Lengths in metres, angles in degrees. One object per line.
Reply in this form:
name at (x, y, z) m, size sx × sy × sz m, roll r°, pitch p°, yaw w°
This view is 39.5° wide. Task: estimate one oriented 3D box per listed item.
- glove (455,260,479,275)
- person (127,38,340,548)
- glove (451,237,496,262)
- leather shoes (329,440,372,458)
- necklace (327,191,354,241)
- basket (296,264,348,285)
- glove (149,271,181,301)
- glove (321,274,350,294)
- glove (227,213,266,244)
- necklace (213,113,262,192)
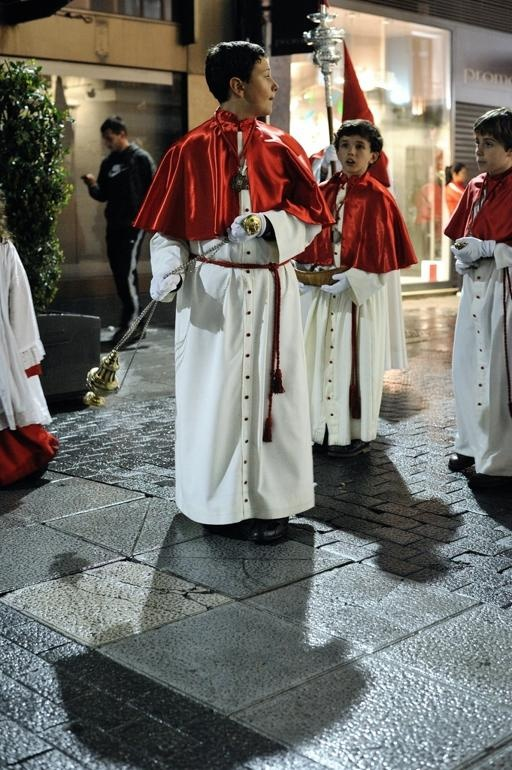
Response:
glove at (1.250, -0.704, 4.317) m, size 0.089 × 0.047 × 0.116 m, roll -3°, pitch -4°, yaw -33°
person at (-0.077, -0.435, 3.235) m, size 0.871 × 2.121 × 0.510 m, roll -1°, pitch 14°, yaw -8°
glove at (1.265, -0.779, 4.139) m, size 0.202 × 0.080 × 0.135 m, roll -3°, pitch 21°, yaw 4°
leather shoes at (0.646, 0.447, 4.967) m, size 0.301 × 0.110 × 0.107 m, roll 1°, pitch -1°, yaw -29°
necklace at (0.579, -1.122, 4.808) m, size 0.113 × 0.379 × 0.098 m, roll 1°, pitch 2°, yaw -8°
basket at (0.408, -0.721, 4.849) m, size 0.391 × 0.136 × 0.119 m, roll -6°, pitch 28°, yaw 19°
glove at (-0.392, -0.422, 3.122) m, size 0.128 × 0.135 × 0.249 m, roll -1°, pitch 13°, yaw -6°
glove at (0.542, -0.646, 4.730) m, size 0.114 × 0.140 × 0.065 m, roll 3°, pitch -28°, yaw 44°
glove at (-0.039, -0.673, 3.073) m, size 0.167 × 0.125 × 0.240 m, roll 0°, pitch 13°, yaw -2°
necklace at (-0.085, -1.039, 3.179) m, size 0.212 × 0.367 × 0.205 m, roll 0°, pitch 14°, yaw 0°
